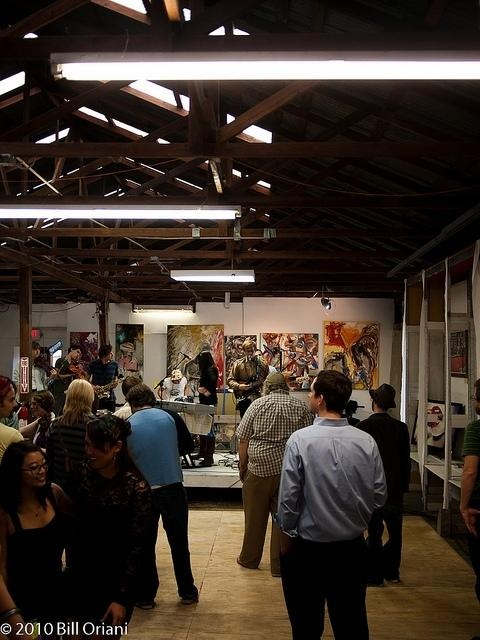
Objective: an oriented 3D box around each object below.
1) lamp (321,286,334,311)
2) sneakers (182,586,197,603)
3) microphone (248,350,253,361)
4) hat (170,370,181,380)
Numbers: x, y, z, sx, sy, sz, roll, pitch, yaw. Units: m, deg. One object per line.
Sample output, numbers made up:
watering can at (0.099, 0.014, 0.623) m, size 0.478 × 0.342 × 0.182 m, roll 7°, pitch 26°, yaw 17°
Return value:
lamp at (2.042, -0.531, 12.639) m, size 0.266 × 0.517 × 0.775 m, roll 0°, pitch -7°, yaw 11°
sneakers at (-0.348, 1.895, 3.724) m, size 0.095 × 0.098 × 0.112 m, roll 2°, pitch -1°, yaw -3°
microphone at (0.135, 0.446, 6.848) m, size 0.069 × 0.089 × 0.031 m, roll -3°, pitch 8°, yaw 3°
hat at (-0.976, 0.828, 8.127) m, size 0.118 × 0.141 × 0.148 m, roll 2°, pitch -16°, yaw -14°
